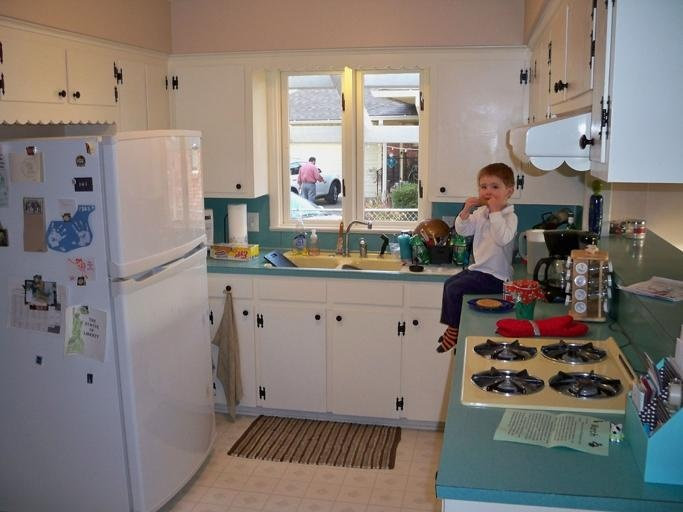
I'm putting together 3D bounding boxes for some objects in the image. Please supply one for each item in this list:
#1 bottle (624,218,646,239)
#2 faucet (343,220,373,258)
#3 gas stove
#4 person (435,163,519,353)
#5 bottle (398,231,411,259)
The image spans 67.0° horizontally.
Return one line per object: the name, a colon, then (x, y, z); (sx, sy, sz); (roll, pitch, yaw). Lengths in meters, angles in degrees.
bottle: (1.866, -0.175, 3.268); (0.106, 0.128, 0.123); (-3, 9, -8)
faucet: (0.140, -0.159, 4.117); (0.241, 0.310, 0.438); (0, 14, 1)
gas stove: (0.778, 0.405, 1.983); (0.593, 0.089, 0.671); (4, 15, 15)
person: (0.860, -0.005, 3.185); (0.393, 1.068, 0.803); (4, 14, 18)
bottle: (0.484, -0.069, 3.893); (0.102, 0.205, 0.181); (1, 14, 6)
